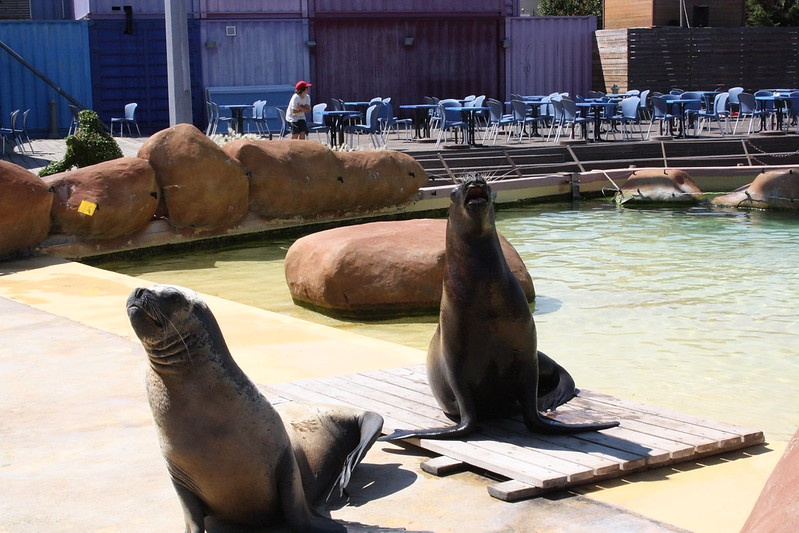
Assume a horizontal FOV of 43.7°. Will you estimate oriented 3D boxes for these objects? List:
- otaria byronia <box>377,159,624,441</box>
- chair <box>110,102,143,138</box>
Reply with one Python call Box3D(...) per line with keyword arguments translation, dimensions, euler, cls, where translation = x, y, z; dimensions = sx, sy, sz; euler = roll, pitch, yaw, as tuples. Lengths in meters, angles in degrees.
Box3D(translation=(0.728, 0.595, 7.504), dimensions=(1.661, 1.293, 2.102), euler=(-8, -32, 2), cls="otaria byronia")
Box3D(translation=(-6.503, -3.486, 23.598), dimensions=(0.694, 0.652, 0.605), euler=(-3, 15, -9), cls="chair")
